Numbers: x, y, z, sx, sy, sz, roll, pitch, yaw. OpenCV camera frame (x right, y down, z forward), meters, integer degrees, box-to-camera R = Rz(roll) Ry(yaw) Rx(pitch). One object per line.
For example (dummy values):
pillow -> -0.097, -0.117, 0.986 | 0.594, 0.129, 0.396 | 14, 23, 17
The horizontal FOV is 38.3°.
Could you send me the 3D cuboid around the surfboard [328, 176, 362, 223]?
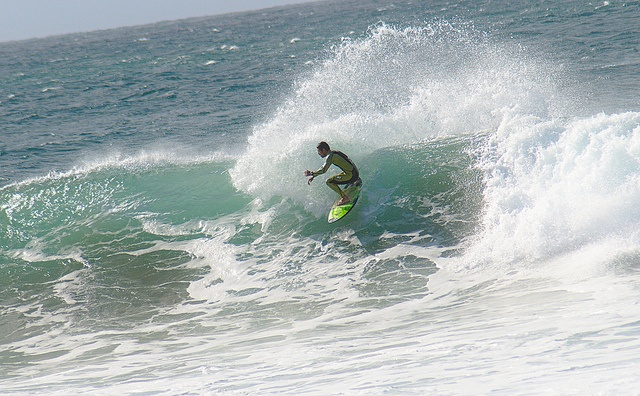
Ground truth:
surfboard -> 1.665, 0.141, 52.912 | 1.205, 0.487, 3.415 | 17, 57, 43
